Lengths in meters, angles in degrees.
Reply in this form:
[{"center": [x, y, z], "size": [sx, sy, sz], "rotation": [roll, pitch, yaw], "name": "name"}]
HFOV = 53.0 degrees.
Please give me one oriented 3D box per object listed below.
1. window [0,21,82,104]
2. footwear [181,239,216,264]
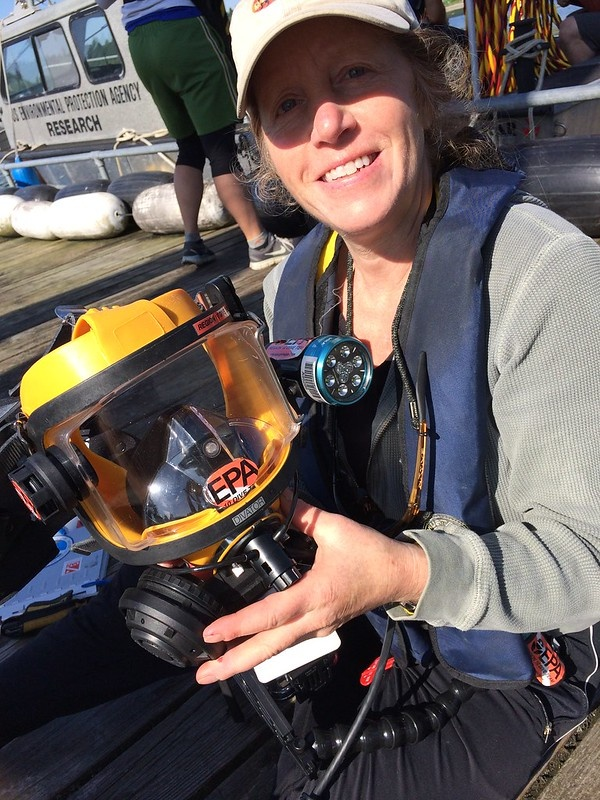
[{"center": [-3.306, -4.141, 7.495], "size": [0.568, 0.682, 2.244], "rotation": [-34, 37, -19], "name": "window"}, {"center": [-0.630, -0.908, 3.736], "size": [0.105, 0.125, 0.241], "rotation": [10, 25, 27], "name": "footwear"}]
